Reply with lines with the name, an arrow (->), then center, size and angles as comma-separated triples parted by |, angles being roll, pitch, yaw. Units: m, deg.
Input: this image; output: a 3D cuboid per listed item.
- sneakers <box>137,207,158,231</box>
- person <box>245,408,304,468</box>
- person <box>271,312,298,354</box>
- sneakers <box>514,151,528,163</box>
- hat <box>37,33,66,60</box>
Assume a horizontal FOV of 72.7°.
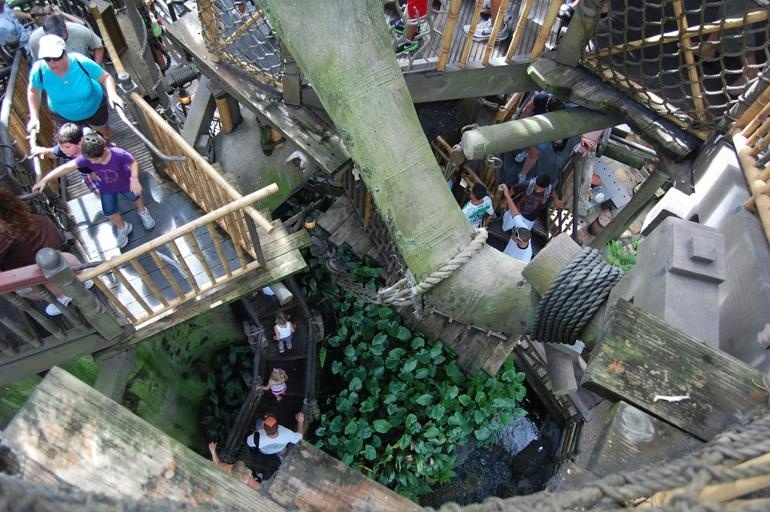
sneakers -> -3.502, -0.503, 7.672 | 0.167, 0.381, 0.155 | -28, 15, -7
person -> -2.123, 3.478, 10.117 | 0.914, 1.718, 0.785 | -2, 55, -14
person -> -1.969, 1.462, 10.231 | 0.462, 1.112, 0.382 | -31, 68, -26
sneakers -> 2.761, -2.016, 10.611 | 0.112, 0.286, 0.125 | 51, 23, 3
hat -> -4.338, -2.695, 6.777 | 0.413, 0.229, 0.320 | 19, 40, 28
